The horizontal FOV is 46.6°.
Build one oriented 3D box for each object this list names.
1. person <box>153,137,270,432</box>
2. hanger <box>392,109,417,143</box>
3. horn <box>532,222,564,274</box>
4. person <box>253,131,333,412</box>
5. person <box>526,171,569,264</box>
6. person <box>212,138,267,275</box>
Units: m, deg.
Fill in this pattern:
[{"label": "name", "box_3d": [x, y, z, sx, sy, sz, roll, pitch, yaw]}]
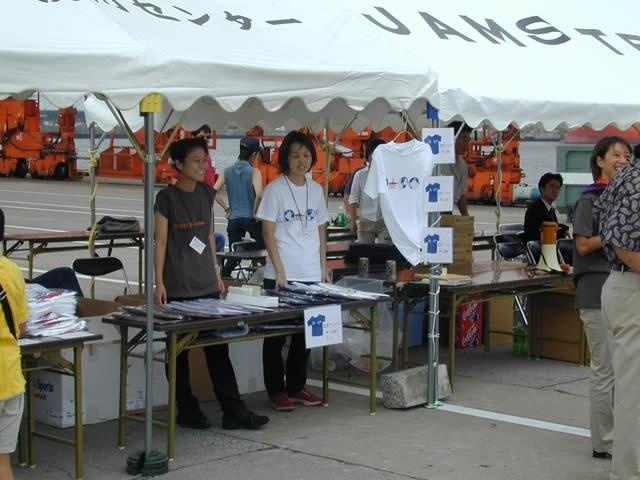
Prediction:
[{"label": "person", "box_3d": [-0.997, 0.453, 6.086, 0.877, 2.469, 0.935, -8, 16, -32]}, {"label": "hanger", "box_3d": [2.049, -2.575, 17.718, 0.582, 0.024, 0.700, 6, 43, 1]}, {"label": "horn", "box_3d": [2.430, 0.038, 7.868, 0.308, 0.547, 0.294, -22, 26, -29]}, {"label": "person", "box_3d": [-0.267, 0.261, 6.753, 0.726, 2.254, 0.846, 0, 1, -31]}, {"label": "person", "box_3d": [2.834, -0.393, 9.373, 0.487, 1.282, 0.574, 8, 15, 40]}, {"label": "person", "box_3d": [-1.112, -0.591, 10.476, 0.636, 2.110, 0.754, 1, 1, 16]}]
